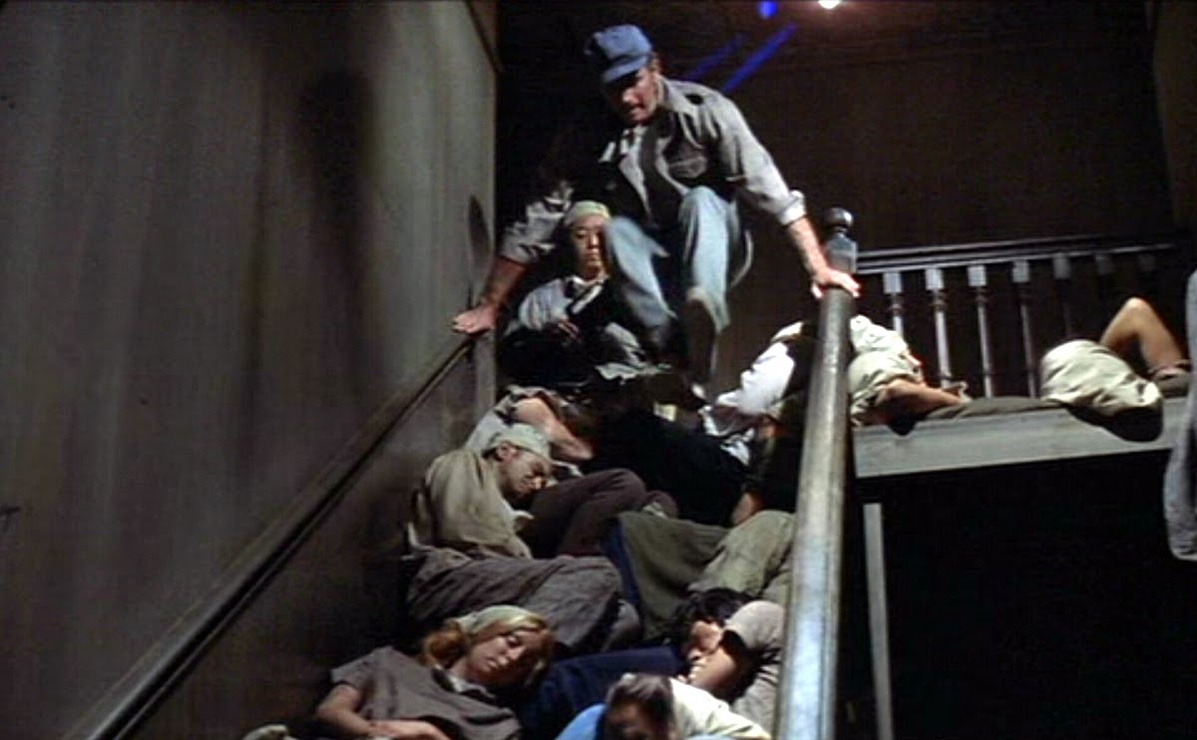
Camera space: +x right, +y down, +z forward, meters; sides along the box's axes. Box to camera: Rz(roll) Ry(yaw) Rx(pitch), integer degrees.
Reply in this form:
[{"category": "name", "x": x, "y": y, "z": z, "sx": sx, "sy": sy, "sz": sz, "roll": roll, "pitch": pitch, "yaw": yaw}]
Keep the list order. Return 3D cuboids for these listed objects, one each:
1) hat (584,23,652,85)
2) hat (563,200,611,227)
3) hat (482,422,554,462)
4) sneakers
[{"category": "hat", "x": 0.133, "y": -1.749, "z": 6.434, "sx": 0.299, "sy": 0.207, "sz": 0.383, "roll": -28, "pitch": 7, "yaw": 24}, {"category": "hat", "x": -0.079, "y": -0.852, "z": 6.293, "sx": 0.169, "sy": 0.094, "sz": 0.177, "roll": -5, "pitch": 10, "yaw": 20}, {"category": "hat", "x": -0.363, "y": 0.335, "z": 5.389, "sx": 0.305, "sy": 0.155, "sz": 0.222, "roll": -2, "pitch": 3, "yaw": 4}, {"category": "sneakers", "x": 0.408, "y": -0.118, "z": 5.801, "sx": 0.236, "sy": 0.640, "sz": 0.278, "roll": 3, "pitch": 5, "yaw": 6}]
